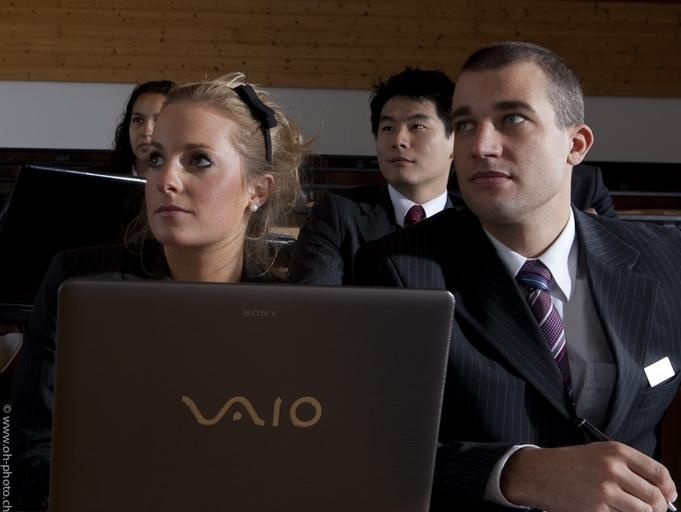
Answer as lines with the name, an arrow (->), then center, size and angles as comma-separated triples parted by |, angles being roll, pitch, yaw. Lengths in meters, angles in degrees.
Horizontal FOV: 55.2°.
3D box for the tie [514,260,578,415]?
tie -> 0.392, 0.160, 1.305 | 0.070, 0.037, 0.310 | -5, 68, -16
